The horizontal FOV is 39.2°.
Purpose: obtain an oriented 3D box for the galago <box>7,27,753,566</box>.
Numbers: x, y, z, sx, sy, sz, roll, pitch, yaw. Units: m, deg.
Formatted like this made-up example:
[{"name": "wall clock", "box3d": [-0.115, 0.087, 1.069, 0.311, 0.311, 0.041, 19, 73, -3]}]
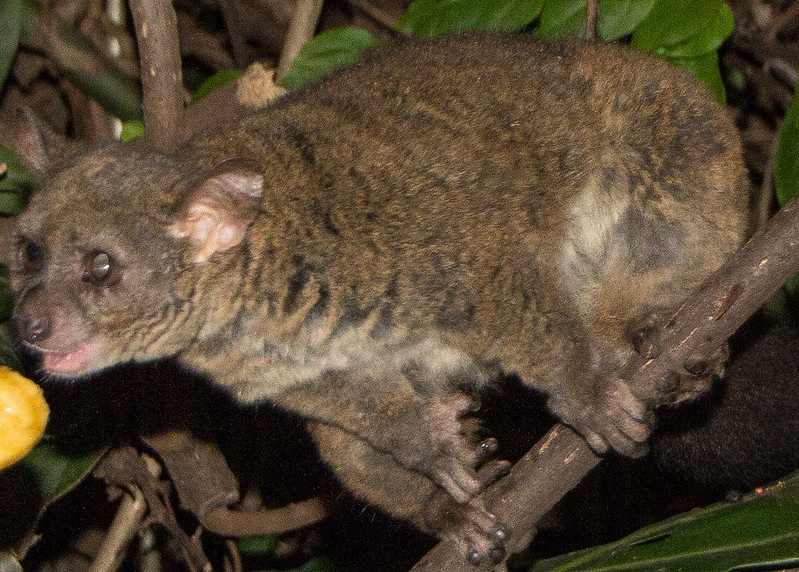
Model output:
[{"name": "galago", "box3d": [-0.065, -0.073, 5.306, 3.773, 2.221, 1.912, -25, 28, -21]}]
